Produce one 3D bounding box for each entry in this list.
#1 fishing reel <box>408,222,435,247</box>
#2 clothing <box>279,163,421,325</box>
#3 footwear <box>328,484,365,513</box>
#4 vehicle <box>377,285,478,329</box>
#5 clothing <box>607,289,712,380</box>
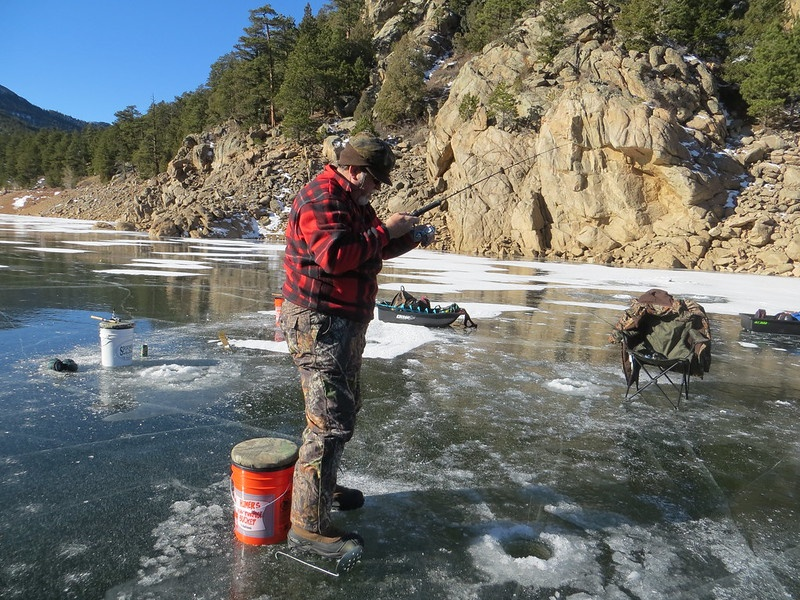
[{"bbox_3d":[0.168,-0.591,4.979,0.167,0.219,0.096,9,-8,-21],"label":"fishing reel"},{"bbox_3d":[-0.408,-0.470,4.926,1.134,1.233,1.244,8,5,14],"label":"clothing"},{"bbox_3d":[-0.508,1.841,5.382,0.339,0.199,0.132,2,-12,-7],"label":"footwear"},{"bbox_3d":[0.531,0.099,12.433,2.121,0.847,0.883,4,2,7],"label":"vehicle"},{"bbox_3d":[3.609,0.418,7.892,1.175,0.984,0.788,14,18,41],"label":"clothing"}]
